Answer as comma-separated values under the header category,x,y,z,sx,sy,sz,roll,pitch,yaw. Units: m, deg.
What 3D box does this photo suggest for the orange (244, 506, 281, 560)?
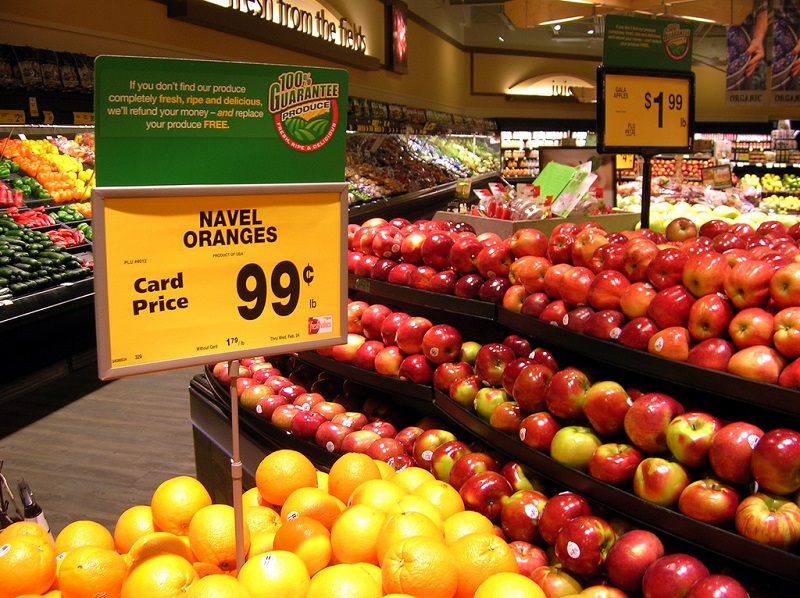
category,x,y,z,sx,sy,sz,roll,pitch,yaw
orange,-0.366,0.640,1.303,0.079,0.083,0.100,13,38,0

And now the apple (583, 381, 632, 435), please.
category,x,y,z,sx,sy,sz,roll,pitch,yaw
apple,0.602,0.331,1.406,0.145,0.149,0.145,-1,0,-26

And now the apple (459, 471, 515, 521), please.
category,x,y,z,sx,sy,sz,roll,pitch,yaw
apple,0.266,0.590,1.524,0.139,0.141,0.137,30,-2,22

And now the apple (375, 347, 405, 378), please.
category,x,y,z,sx,sy,sz,roll,pitch,yaw
apple,-0.039,0.272,2.106,0.108,0.134,0.108,13,21,44

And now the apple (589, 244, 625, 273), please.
category,x,y,z,sx,sy,sz,roll,pitch,yaw
apple,0.684,-0.117,1.622,0.095,0.095,0.095,2,21,-14

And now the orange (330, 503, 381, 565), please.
category,x,y,z,sx,sy,sz,roll,pitch,yaw
orange,-0.109,0.561,1.219,0.125,0.154,0.122,0,-5,-36

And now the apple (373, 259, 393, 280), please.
category,x,y,z,sx,sy,sz,roll,pitch,yaw
apple,-0.074,-0.133,2.316,0.086,0.108,0.090,-4,31,5

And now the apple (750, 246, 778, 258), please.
category,x,y,z,sx,sy,sz,roll,pitch,yaw
apple,1.128,-0.143,1.495,0.038,0.032,0.051,-2,10,8

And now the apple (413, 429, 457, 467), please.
category,x,y,z,sx,sy,sz,roll,pitch,yaw
apple,0.136,0.533,1.782,0.123,0.134,0.133,-8,34,23

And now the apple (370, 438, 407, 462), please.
category,x,y,z,sx,sy,sz,roll,pitch,yaw
apple,-0.049,0.569,1.807,0.076,0.078,0.080,-10,13,-4

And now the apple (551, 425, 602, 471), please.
category,x,y,z,sx,sy,sz,roll,pitch,yaw
apple,0.492,0.424,1.359,0.104,0.107,0.108,12,1,-13

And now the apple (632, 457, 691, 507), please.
category,x,y,z,sx,sy,sz,roll,pitch,yaw
apple,0.662,0.466,1.224,0.111,0.124,0.119,1,4,-20

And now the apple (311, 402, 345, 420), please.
category,x,y,z,sx,sy,sz,roll,pitch,yaw
apple,-0.313,0.501,2.126,0.076,0.075,0.077,-6,-13,-5

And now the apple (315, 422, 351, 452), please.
category,x,y,z,sx,sy,sz,roll,pitch,yaw
apple,-0.269,0.551,1.958,0.096,0.094,0.098,22,2,12

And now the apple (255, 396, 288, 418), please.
category,x,y,z,sx,sy,sz,roll,pitch,yaw
apple,-0.590,0.486,2.226,0.098,0.094,0.100,9,30,42

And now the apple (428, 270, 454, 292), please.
category,x,y,z,sx,sy,sz,roll,pitch,yaw
apple,0.189,-0.068,2.042,0.083,0.077,0.086,21,62,43

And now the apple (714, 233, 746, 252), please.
category,x,y,z,sx,sy,sz,roll,pitch,yaw
apple,1.098,-0.185,1.600,0.062,0.064,0.061,-16,-4,-16

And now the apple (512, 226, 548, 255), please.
category,x,y,z,sx,sy,sz,roll,pitch,yaw
apple,0.517,-0.199,1.935,0.127,0.117,0.109,13,-17,-16

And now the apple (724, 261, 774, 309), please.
category,x,y,z,sx,sy,sz,roll,pitch,yaw
apple,0.911,-0.031,1.251,0.078,0.075,0.093,37,0,1

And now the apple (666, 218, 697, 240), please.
category,x,y,z,sx,sy,sz,roll,pitch,yaw
apple,1.154,-0.277,1.973,0.107,0.083,0.256,7,17,30

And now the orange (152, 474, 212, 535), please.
category,x,y,z,sx,sy,sz,roll,pitch,yaw
orange,-0.603,0.581,1.374,0.136,0.166,0.137,26,-48,-39

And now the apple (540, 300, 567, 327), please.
category,x,y,z,sx,sy,sz,roll,pitch,yaw
apple,0.521,0.052,1.609,0.069,0.077,0.075,31,29,25

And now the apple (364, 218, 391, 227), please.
category,x,y,z,sx,sy,sz,roll,pitch,yaw
apple,-0.129,-0.414,2.647,0.084,0.056,0.103,2,8,21

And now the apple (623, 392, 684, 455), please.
category,x,y,z,sx,sy,sz,roll,pitch,yaw
apple,0.654,0.326,1.256,0.146,0.154,0.146,25,-32,-31

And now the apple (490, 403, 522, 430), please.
category,x,y,z,sx,sy,sz,roll,pitch,yaw
apple,0.344,0.380,1.555,0.078,0.083,0.078,3,-7,-12

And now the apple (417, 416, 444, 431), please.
category,x,y,z,sx,sy,sz,roll,pitch,yaw
apple,0.120,0.504,1.955,0.053,0.068,0.054,-12,-12,-5

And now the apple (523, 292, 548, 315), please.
category,x,y,z,sx,sy,sz,roll,pitch,yaw
apple,0.485,0.012,1.723,0.068,0.074,0.073,41,22,5

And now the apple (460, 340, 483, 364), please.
category,x,y,z,sx,sy,sz,roll,pitch,yaw
apple,0.282,0.209,1.920,0.074,0.073,0.075,-19,16,-36

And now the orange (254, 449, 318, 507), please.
category,x,y,z,sx,sy,sz,roll,pitch,yaw
orange,-0.341,0.522,1.412,0.181,0.167,0.166,12,5,-27

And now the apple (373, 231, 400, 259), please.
category,x,y,z,sx,sy,sz,roll,pitch,yaw
apple,-0.056,-0.259,2.350,0.121,0.125,0.126,16,38,-18

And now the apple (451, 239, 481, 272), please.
category,x,y,z,sx,sy,sz,roll,pitch,yaw
apple,0.280,-0.168,2.042,0.123,0.126,0.124,7,12,-47

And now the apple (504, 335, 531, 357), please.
category,x,y,z,sx,sy,sz,roll,pitch,yaw
apple,0.441,0.178,1.792,0.077,0.084,0.075,14,-34,-15

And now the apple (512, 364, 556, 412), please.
category,x,y,z,sx,sy,sz,roll,pitch,yaw
apple,0.416,0.296,1.558,0.138,0.139,0.137,-2,0,40

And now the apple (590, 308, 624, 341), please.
category,x,y,z,sx,sy,sz,roll,pitch,yaw
apple,0.623,0.080,1.455,0.102,0.071,0.081,6,16,27

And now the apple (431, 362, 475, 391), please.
category,x,y,z,sx,sy,sz,roll,pitch,yaw
apple,0.215,0.283,1.831,0.107,0.115,0.111,5,10,-1

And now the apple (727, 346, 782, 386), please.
category,x,y,z,sx,sy,sz,roll,pitch,yaw
apple,0.838,0.157,1.129,0.082,0.088,0.086,32,-46,-30
